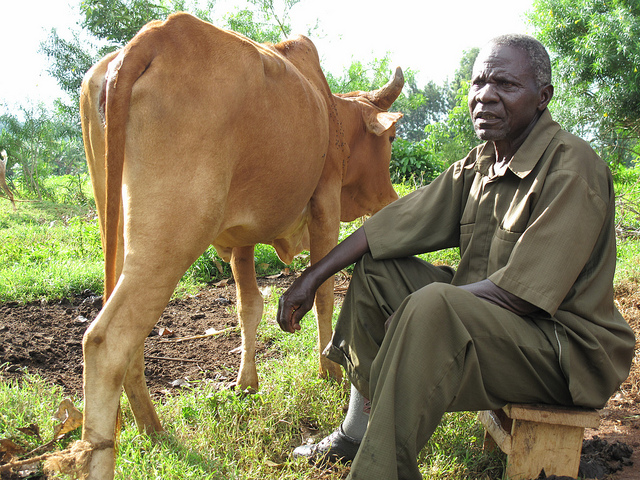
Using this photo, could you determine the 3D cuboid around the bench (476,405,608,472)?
[{"bbox_3d":[1.118,1.004,3.068,0.562,0.349,0.459,2,-2,19],"label":"bench"}]
